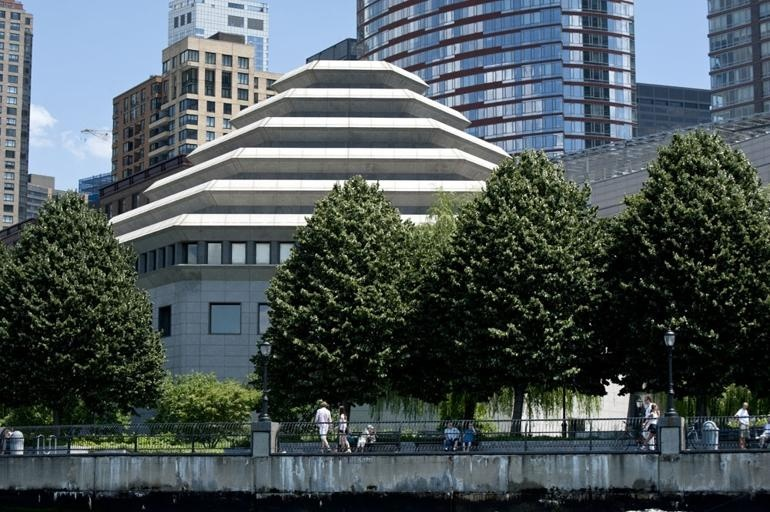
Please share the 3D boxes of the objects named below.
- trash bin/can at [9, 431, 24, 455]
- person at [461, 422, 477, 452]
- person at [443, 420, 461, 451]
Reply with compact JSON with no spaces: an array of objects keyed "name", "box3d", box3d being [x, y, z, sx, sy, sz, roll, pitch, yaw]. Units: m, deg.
[{"name":"trash bin/can","box3d":[-32.074,16.106,163.445,1.205,2.150,0.664,-3,-13,4]},{"name":"person","box3d":[7.050,15.293,161.343,1.195,2.587,1.361,1,-13,-13]},{"name":"person","box3d":[5.538,15.350,161.570,1.399,2.466,0.735,-2,-12,1]}]
